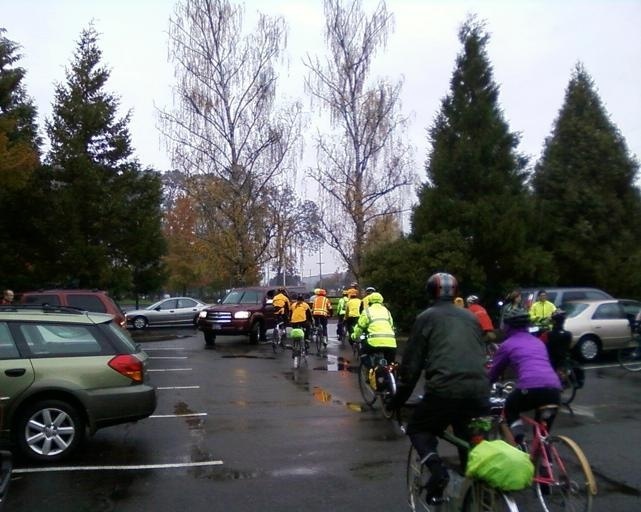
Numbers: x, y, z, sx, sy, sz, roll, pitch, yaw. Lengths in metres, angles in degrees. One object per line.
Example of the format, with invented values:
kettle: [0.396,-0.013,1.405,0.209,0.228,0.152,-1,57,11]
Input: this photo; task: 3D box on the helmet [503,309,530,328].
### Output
helmet: [2.092,0.662,6.256,0.175,0.235,0.232,21,10,5]

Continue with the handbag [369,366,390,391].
handbag: [0.970,2.031,9.679,0.204,0.440,0.282,6,-7,-39]

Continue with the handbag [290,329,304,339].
handbag: [-0.568,1.914,14.349,0.290,0.256,0.230,-16,21,-13]

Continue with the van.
van: [6.576,1.483,16.069,2.740,1.342,1.351,-8,2,-10]

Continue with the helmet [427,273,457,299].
helmet: [1.108,0.286,5.357,0.193,0.252,0.251,3,8,1]

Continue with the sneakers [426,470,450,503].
sneakers: [0.973,1.971,4.971,0.124,0.383,0.145,-9,39,-19]
